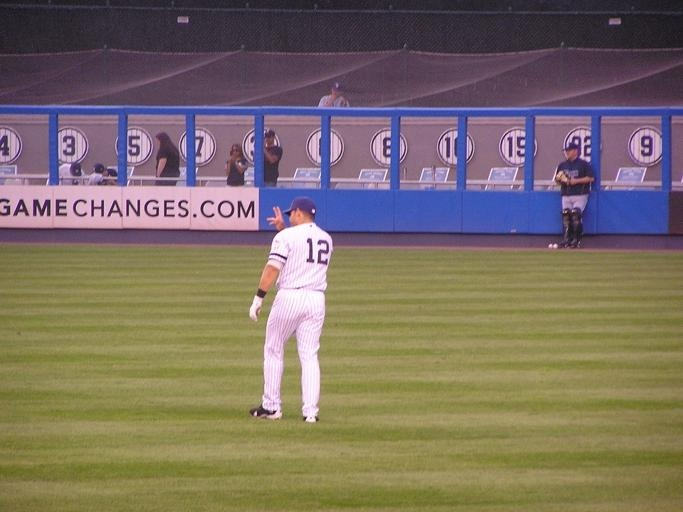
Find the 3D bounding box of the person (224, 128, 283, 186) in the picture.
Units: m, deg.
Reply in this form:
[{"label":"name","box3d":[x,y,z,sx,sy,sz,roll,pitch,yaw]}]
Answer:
[{"label":"person","box3d":[-1.966,-2.103,49.208,1.143,1.574,0.510,0,-8,4]}]

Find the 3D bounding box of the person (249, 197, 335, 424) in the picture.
[{"label":"person","box3d":[-0.883,0.925,38.401,1.178,3.834,0.340,3,3,-1]}]

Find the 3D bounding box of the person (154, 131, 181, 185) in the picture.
[{"label":"person","box3d":[-3.871,-2.097,49.102,0.528,1.155,0.582,3,3,-4]}]
